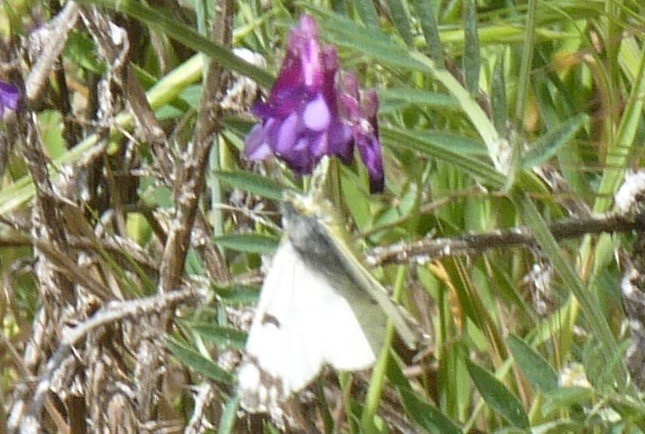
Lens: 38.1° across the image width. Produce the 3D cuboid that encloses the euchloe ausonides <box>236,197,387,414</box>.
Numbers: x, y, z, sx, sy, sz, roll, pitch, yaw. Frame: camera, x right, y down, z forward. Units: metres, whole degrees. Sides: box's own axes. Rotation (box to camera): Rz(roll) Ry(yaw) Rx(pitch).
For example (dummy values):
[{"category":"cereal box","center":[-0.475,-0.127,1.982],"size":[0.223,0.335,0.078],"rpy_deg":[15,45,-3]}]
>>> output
[{"category":"euchloe ausonides","center":[-0.002,0.074,0.767],"size":[0.132,0.130,0.063],"rpy_deg":[40,12,-11]}]

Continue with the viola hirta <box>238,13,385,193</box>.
[{"category":"viola hirta","center":[0.001,-0.081,0.744],"size":[0.108,0.107,0.078],"rpy_deg":[20,51,18]}]
